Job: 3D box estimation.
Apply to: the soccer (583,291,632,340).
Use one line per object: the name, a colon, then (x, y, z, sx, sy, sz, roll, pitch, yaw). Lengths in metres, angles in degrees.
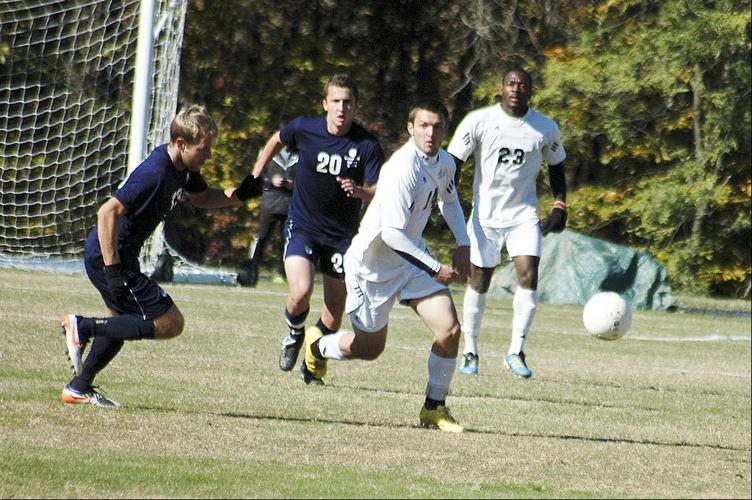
soccer: (2.805, 0.782, 15.351, 0.569, 0.587, 0.558, 0, -16, -9)

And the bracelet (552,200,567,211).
bracelet: (2.278, -0.567, 15.258, 0.180, 0.122, 0.184, 1, 1, 6)

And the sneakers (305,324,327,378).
sneakers: (-0.715, 1.162, 14.449, 0.257, 0.614, 0.216, 9, 29, 20)

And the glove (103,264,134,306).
glove: (-2.841, 0.340, 13.470, 0.277, 0.430, 0.090, 4, 7, -11)

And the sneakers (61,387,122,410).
sneakers: (-3.130, 1.607, 13.543, 0.645, 0.266, 0.241, 5, -3, -12)

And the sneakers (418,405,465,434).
sneakers: (0.705, 1.854, 13.670, 0.584, 0.259, 0.219, 7, 1, 4)

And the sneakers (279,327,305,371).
sneakers: (-1.054, 1.142, 14.754, 0.199, 0.633, 0.249, 15, 9, 19)
